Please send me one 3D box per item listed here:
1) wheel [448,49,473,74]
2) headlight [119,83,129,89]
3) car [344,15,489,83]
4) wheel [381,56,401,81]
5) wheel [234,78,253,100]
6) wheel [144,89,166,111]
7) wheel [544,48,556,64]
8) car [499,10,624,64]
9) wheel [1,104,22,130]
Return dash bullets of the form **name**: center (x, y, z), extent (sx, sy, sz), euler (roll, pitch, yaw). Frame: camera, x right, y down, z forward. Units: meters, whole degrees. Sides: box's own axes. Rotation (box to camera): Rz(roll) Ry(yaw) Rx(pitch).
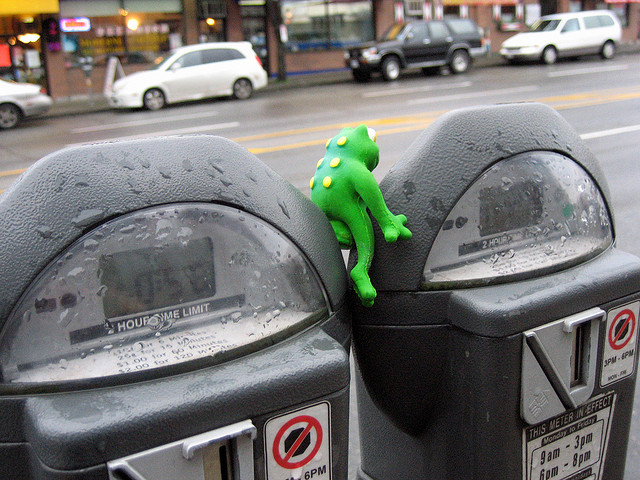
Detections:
- **wheel**: center (3.958, -5.066, 19.221), extent (0.421, 0.509, 0.155), euler (-19, 17, -27)
- **headlight**: center (-4.339, -3.415, 15.108), extent (0.244, 0.110, 0.075), euler (1, 18, 22)
- **car**: center (2.748, -5.249, 18.918), extent (4.010, 1.621, 1.584), euler (-17, 20, -28)
- **wheel**: center (1.920, -4.636, 18.413), extent (0.650, 0.662, 0.248), euler (-16, 19, -28)
- **wheel**: center (-1.868, -3.678, 16.478), extent (0.337, 0.410, 0.115), euler (-11, 23, -35)
- **wheel**: center (-3.727, -3.169, 15.307), extent (0.389, 0.484, 0.147), euler (-7, 16, -27)
- **wheel**: center (6.837, -5.454, 20.202), extent (0.475, 0.468, 0.126), euler (-18, 21, -34)
- **car**: center (7.432, -6.071, 20.779), extent (3.672, 1.549, 1.167), euler (-14, 19, -20)
- **wheel**: center (-6.563, -2.618, 14.402), extent (0.127, 0.468, 0.394), euler (11, 19, 41)
